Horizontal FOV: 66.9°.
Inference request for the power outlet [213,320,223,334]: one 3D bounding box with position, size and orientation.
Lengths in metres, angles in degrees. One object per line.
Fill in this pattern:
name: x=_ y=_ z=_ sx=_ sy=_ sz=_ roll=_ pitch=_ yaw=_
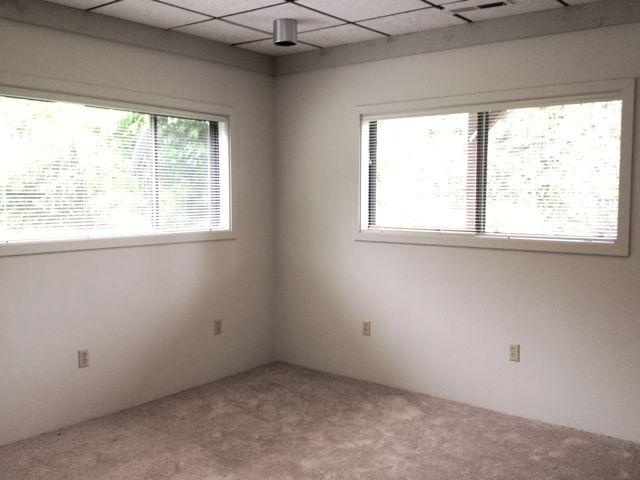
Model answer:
power outlet: x=-1.011 y=0.868 z=4.803 sx=0.024 sy=0.152 sz=0.096 roll=7 pitch=11 yaw=37
